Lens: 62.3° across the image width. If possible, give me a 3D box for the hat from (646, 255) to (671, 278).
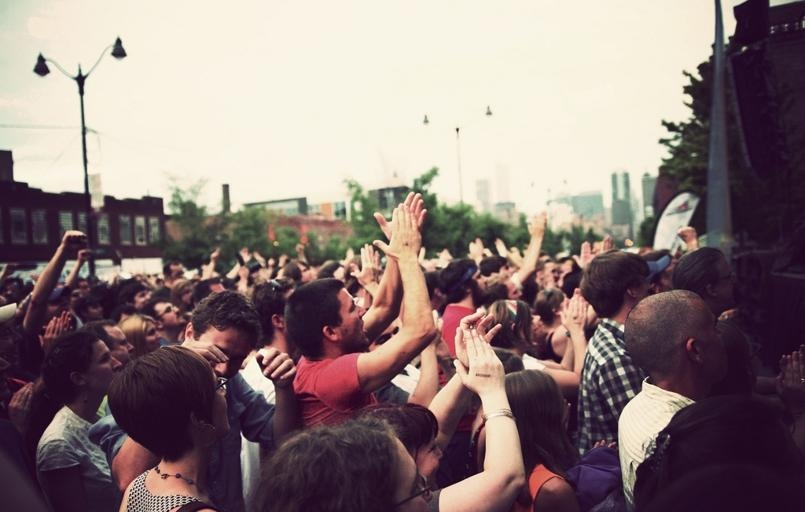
[{"bbox_3d":[2.044,0.086,5.330,0.226,0.112,0.138,-38,21,-22],"label":"hat"}]
